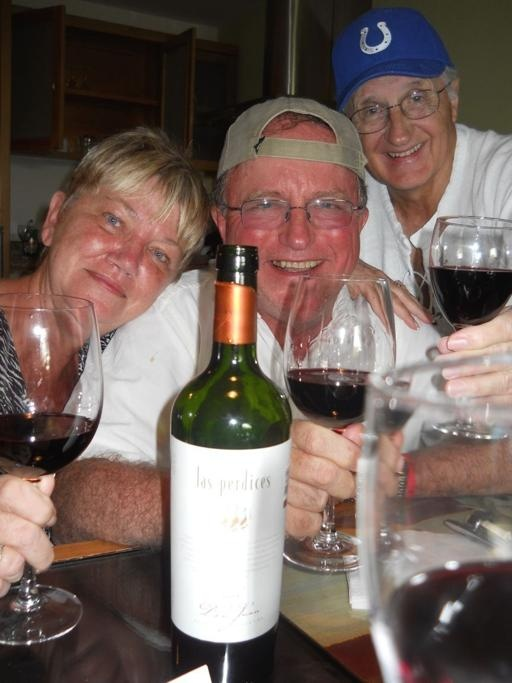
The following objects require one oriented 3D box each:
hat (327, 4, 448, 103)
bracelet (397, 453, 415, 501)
[{"bbox_3d":[0.404,-0.859,1.856,0.254,0.166,0.336,-17,16,33],"label":"hat"},{"bbox_3d":[0.065,0.059,0.271,0.007,0.025,0.006,-9,33,14],"label":"bracelet"}]
